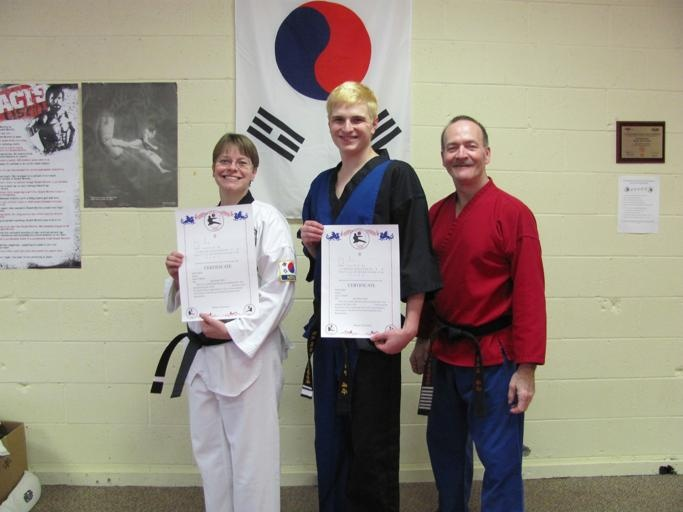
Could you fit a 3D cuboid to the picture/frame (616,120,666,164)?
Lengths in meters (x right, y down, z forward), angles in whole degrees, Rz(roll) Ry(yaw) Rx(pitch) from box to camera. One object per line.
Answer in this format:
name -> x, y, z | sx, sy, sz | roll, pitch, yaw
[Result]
picture/frame -> 1.973, -0.769, 5.165 | 0.260, 0.256, 0.028 | 0, -1, 1
